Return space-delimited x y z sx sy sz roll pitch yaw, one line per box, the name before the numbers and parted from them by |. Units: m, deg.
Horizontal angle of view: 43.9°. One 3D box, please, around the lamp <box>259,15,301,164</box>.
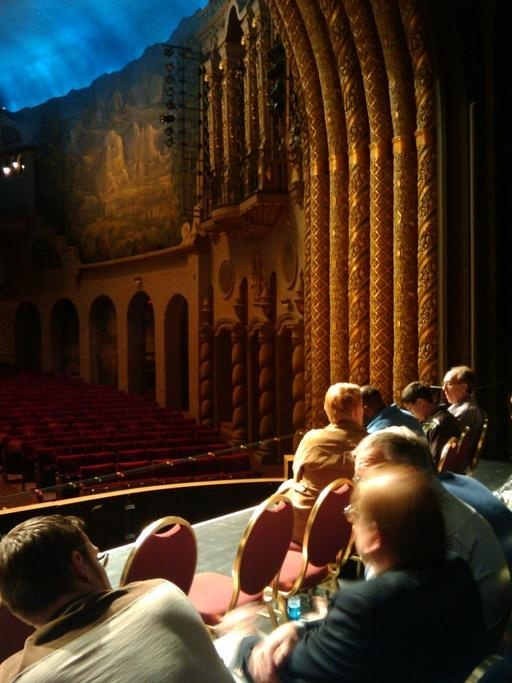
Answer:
lamp | 0.398 -4.268 10.594 0.484 2.795 1.382 -2 -3 -3
